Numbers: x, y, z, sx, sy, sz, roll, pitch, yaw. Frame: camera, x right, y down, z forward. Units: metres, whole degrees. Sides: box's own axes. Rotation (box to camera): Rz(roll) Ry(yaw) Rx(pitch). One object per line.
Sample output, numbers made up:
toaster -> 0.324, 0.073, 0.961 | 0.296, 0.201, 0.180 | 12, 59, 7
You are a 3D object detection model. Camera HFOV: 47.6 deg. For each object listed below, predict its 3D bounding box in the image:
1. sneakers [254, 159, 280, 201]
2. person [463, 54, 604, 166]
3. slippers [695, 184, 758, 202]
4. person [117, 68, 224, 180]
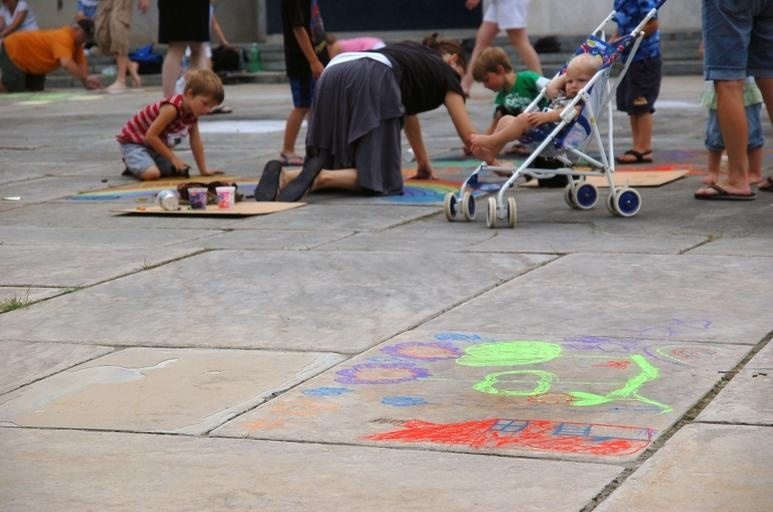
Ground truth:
sneakers -> -0.832, -0.528, 6.150 | 0.195, 0.278, 0.260 | -3, 10, -1
person -> 0.981, -0.924, 5.460 | 0.664, 0.662, 0.770 | 4, 11, 31
slippers -> 2.178, -0.417, 5.746 | 0.437, 0.065, 0.130 | 2, 3, 15
person -> -1.711, -1.033, 6.965 | 0.622, 0.845, 0.809 | -8, 12, -26
